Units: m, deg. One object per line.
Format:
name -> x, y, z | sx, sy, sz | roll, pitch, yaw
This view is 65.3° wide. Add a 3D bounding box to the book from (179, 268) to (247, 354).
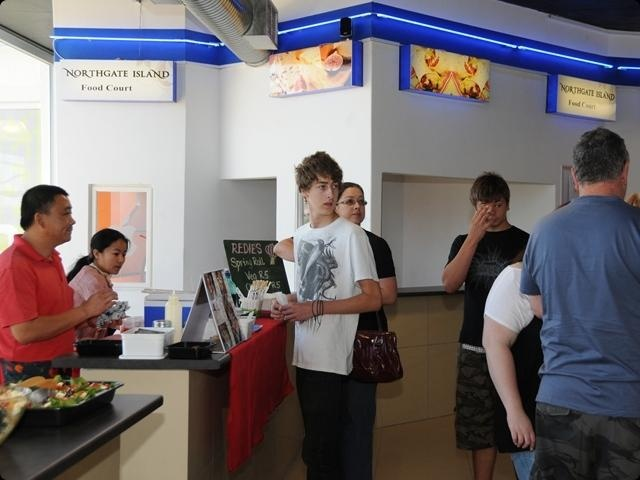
book -> -0.475, 0.328, 2.505 | 0.296, 0.509, 0.438 | -2, -3, 11
